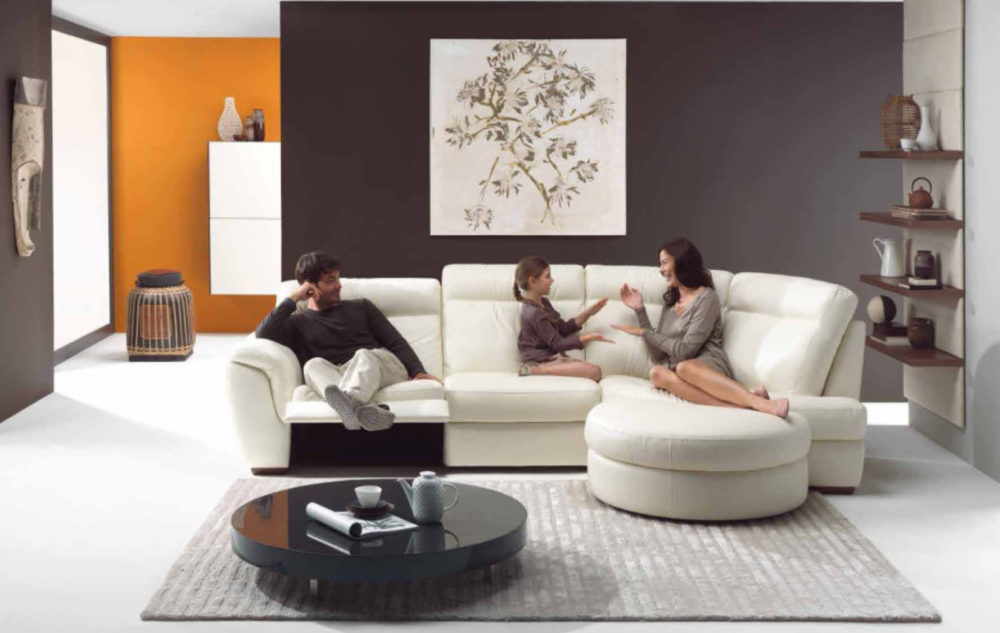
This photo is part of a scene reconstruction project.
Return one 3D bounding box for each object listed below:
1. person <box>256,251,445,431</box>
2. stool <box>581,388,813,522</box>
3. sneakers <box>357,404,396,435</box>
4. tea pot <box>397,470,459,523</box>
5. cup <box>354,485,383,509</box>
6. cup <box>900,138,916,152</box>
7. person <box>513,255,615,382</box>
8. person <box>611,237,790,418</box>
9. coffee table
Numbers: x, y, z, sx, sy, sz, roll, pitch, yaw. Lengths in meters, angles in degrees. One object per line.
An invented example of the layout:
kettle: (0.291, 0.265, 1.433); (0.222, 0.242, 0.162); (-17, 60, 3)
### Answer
person: (-1.048, 0.120, 5.347); (0.889, 0.826, 1.387); (-27, 11, -9)
stool: (1.264, 0.846, 4.918); (1.421, 0.557, 1.412); (-2, 4, -18)
sneakers: (-0.757, 0.642, 4.794); (0.200, 0.060, 0.149); (6, 49, -11)
tea pot: (-0.345, 0.881, 3.763); (0.294, 0.229, 0.181); (-1, -5, -10)
cup: (-0.648, 0.873, 3.783); (0.115, 0.082, 0.116); (0, 4, 0)
cup: (2.923, -1.210, 5.498); (0.115, 0.090, 0.116); (0, 5, 0)
person: (0.442, 0.017, 5.508); (0.695, 0.870, 0.532); (2, 4, 17)
person: (1.315, 0.066, 5.057); (0.663, 1.129, 1.344); (-1, 0, -22)
coffee table: (-0.595, 1.011, 3.750); (1.449, 0.200, 0.703); (0, 14, 0)
